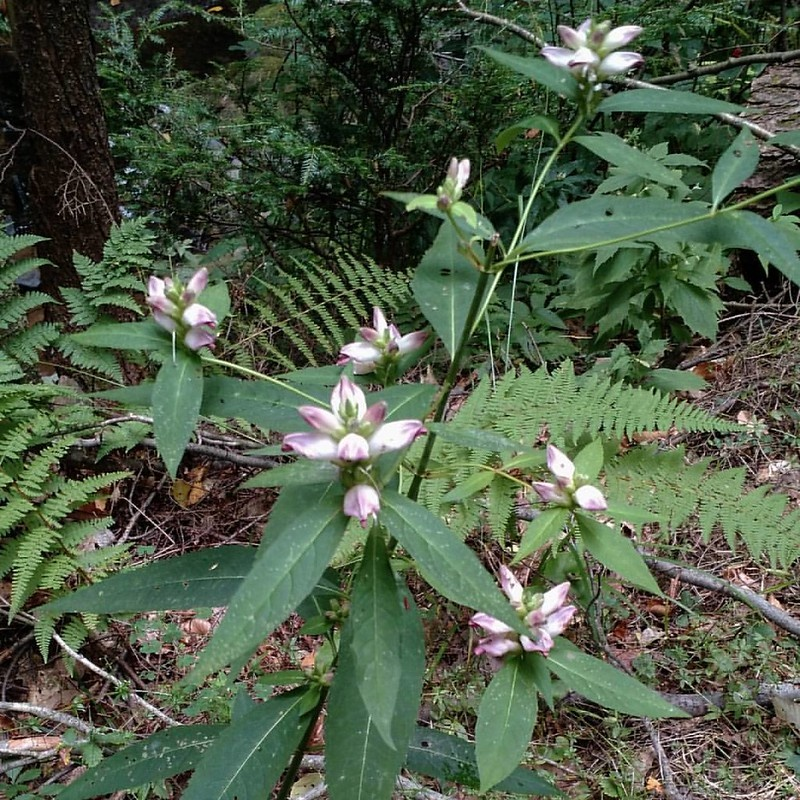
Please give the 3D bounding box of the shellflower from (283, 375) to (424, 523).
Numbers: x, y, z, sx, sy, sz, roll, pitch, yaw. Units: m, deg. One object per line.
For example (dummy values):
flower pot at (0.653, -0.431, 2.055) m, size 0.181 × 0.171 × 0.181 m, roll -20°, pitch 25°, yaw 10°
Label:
shellflower at (-0.094, 0.110, 1.734) m, size 0.252 × 0.310 × 0.298 m, roll 12°, pitch 34°, yaw 11°

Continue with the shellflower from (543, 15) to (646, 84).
shellflower at (0.442, -0.794, 1.799) m, size 0.205 × 0.091 × 0.170 m, roll 20°, pitch 62°, yaw 21°

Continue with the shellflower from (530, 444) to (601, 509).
shellflower at (0.448, 0.230, 2.147) m, size 0.180 × 0.083 × 0.188 m, roll -22°, pitch 55°, yaw 1°

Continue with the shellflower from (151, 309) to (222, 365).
shellflower at (-0.502, -0.172, 1.897) m, size 0.142 × 0.113 × 0.113 m, roll -10°, pitch 36°, yaw -20°

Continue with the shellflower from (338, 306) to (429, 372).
shellflower at (-0.048, -0.139, 1.966) m, size 0.232 × 0.088 × 0.173 m, roll 10°, pitch 34°, yaw 16°

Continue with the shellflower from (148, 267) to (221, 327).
shellflower at (-0.517, -0.248, 1.959) m, size 0.178 × 0.145 × 0.160 m, roll 8°, pitch 38°, yaw -21°

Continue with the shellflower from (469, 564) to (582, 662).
shellflower at (0.322, 0.598, 2.149) m, size 0.223 × 0.233 × 0.215 m, roll 19°, pitch 37°, yaw 21°
